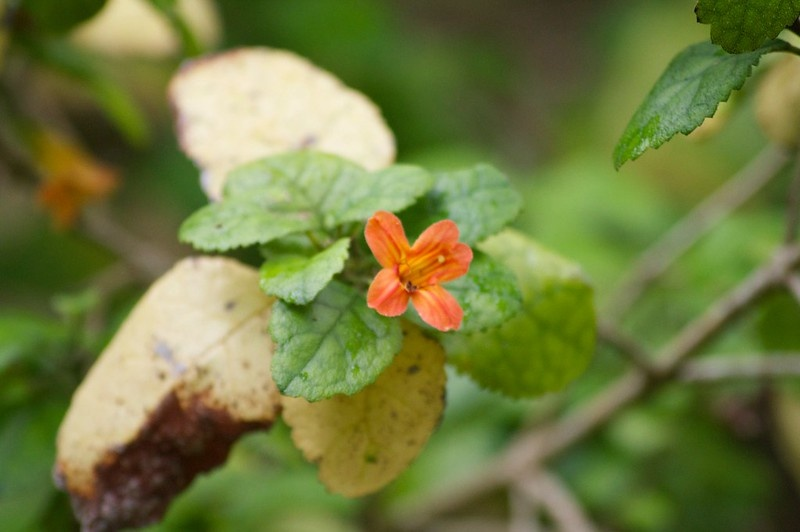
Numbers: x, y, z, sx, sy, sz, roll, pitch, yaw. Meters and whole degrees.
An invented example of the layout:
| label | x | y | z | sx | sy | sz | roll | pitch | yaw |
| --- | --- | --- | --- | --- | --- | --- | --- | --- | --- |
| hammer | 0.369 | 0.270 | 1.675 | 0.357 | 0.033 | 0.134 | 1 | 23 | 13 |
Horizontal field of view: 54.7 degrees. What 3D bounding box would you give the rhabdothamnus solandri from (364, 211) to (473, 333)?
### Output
| label | x | y | z | sx | sy | sz | roll | pitch | yaw |
| --- | --- | --- | --- | --- | --- | --- | --- | --- | --- |
| rhabdothamnus solandri | 0.029 | 0.025 | 1.497 | 0.200 | 0.083 | 0.236 | 2 | 57 | -26 |
